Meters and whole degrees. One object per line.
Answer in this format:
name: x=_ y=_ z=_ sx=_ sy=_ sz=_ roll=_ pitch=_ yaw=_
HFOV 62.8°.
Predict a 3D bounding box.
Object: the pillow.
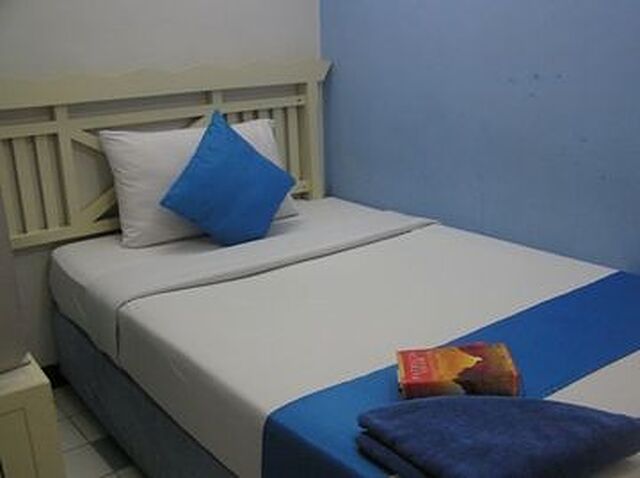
pillow: x=-0.577 y=-0.259 z=2.331 sx=0.540 sy=0.342 sz=0.192 roll=-13 pitch=14 yaw=-24
